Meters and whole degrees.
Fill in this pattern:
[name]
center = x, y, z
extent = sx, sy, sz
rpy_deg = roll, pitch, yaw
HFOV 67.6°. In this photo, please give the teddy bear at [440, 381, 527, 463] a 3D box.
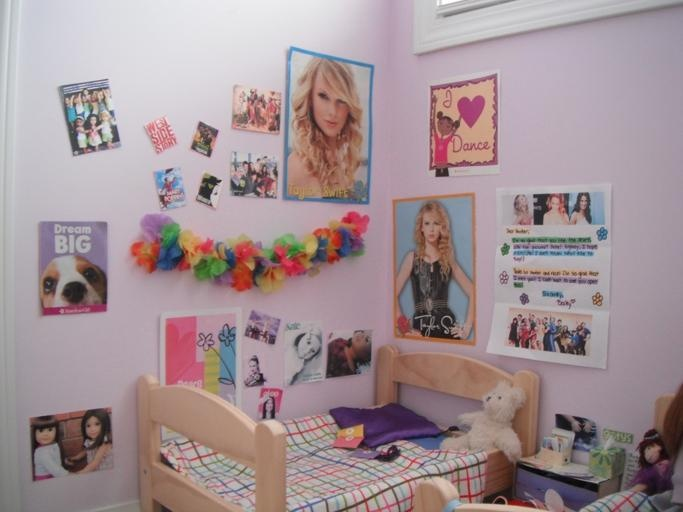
[teddy bear]
center = 0.777, 0.878, 2.743
extent = 0.368, 0.418, 0.465
rpy_deg = 7, 1, -24
